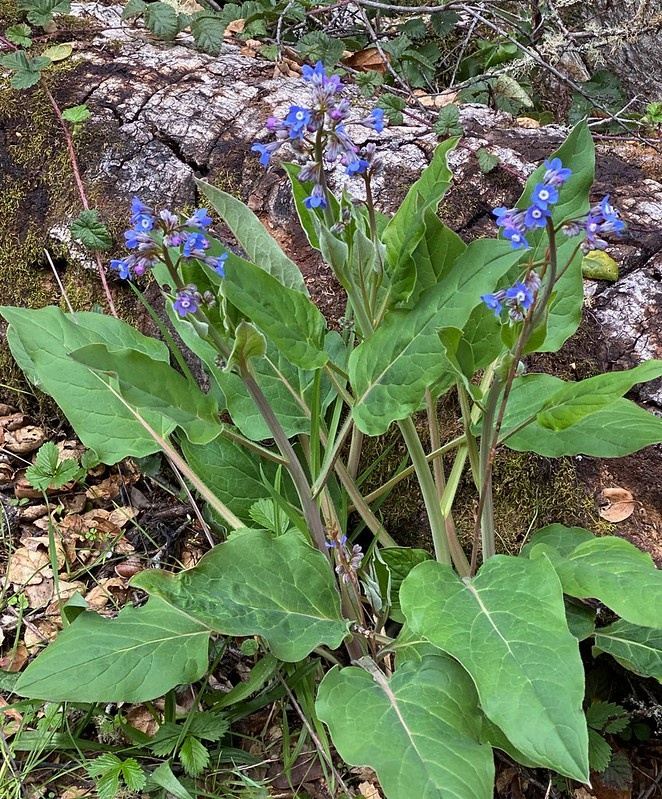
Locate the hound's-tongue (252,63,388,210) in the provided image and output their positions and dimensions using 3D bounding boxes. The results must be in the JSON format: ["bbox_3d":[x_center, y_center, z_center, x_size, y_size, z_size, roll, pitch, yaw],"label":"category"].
[{"bbox_3d":[-0.017,-0.555,1.611,0.222,0.406,0.260,15,51,16],"label":"hound's-tongue"}]

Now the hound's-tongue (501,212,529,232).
[{"bbox_3d":[0.350,-0.347,1.369,0.042,0.017,0.039,-34,84,10],"label":"hound's-tongue"}]

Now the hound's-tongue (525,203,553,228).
[{"bbox_3d":[0.394,-0.355,1.360,0.049,0.045,0.018,36,26,-17],"label":"hound's-tongue"}]
